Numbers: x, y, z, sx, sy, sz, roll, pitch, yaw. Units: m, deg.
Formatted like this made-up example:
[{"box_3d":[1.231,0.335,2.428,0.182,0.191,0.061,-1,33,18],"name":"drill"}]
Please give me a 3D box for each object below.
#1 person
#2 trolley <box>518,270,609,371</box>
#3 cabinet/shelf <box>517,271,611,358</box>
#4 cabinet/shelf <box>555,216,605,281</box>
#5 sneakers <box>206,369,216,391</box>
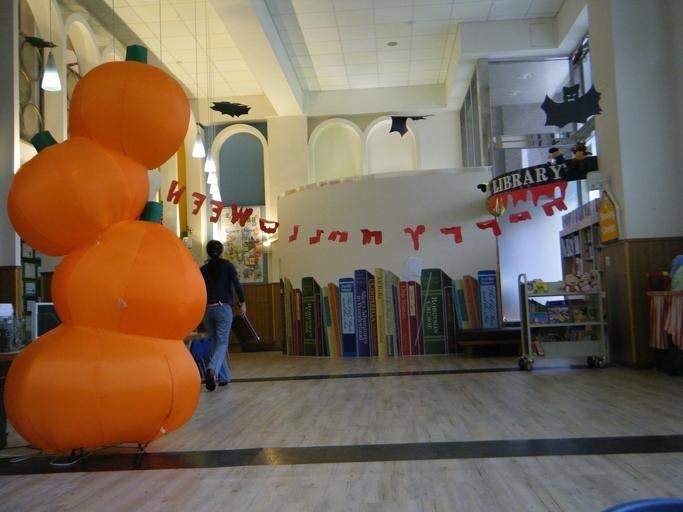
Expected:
[{"box_3d":[-1.229,0.598,5.363,0.408,1.535,0.439,-1,-4,-17],"name":"person"},{"box_3d":[2.510,0.657,5.899,0.785,1.142,0.638,-5,5,27],"name":"trolley"},{"box_3d":[2.536,0.694,5.856,0.980,1.327,0.676,0,-7,2],"name":"cabinet/shelf"},{"box_3d":[3.530,-0.116,7.644,0.286,1.015,1.038,1,-3,3],"name":"cabinet/shelf"},{"box_3d":[-1.282,1.231,5.123,0.078,0.224,0.090,-3,8,4],"name":"sneakers"}]
